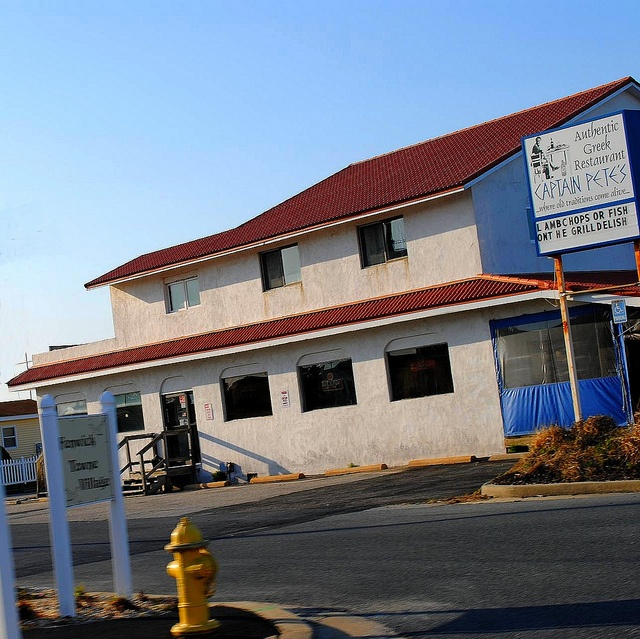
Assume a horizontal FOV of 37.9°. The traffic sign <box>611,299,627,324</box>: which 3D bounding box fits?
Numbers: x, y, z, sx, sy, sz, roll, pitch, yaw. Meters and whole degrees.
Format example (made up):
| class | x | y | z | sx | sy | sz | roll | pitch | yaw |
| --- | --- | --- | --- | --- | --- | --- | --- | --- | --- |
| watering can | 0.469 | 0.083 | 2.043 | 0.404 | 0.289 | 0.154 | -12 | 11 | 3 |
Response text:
| class | x | y | z | sx | sy | sz | roll | pitch | yaw |
| --- | --- | --- | --- | --- | --- | --- | --- | --- | --- |
| traffic sign | 6.055 | -0.207 | 18.818 | 0.281 | 0.409 | 0.517 | -13 | -6 | 16 |
